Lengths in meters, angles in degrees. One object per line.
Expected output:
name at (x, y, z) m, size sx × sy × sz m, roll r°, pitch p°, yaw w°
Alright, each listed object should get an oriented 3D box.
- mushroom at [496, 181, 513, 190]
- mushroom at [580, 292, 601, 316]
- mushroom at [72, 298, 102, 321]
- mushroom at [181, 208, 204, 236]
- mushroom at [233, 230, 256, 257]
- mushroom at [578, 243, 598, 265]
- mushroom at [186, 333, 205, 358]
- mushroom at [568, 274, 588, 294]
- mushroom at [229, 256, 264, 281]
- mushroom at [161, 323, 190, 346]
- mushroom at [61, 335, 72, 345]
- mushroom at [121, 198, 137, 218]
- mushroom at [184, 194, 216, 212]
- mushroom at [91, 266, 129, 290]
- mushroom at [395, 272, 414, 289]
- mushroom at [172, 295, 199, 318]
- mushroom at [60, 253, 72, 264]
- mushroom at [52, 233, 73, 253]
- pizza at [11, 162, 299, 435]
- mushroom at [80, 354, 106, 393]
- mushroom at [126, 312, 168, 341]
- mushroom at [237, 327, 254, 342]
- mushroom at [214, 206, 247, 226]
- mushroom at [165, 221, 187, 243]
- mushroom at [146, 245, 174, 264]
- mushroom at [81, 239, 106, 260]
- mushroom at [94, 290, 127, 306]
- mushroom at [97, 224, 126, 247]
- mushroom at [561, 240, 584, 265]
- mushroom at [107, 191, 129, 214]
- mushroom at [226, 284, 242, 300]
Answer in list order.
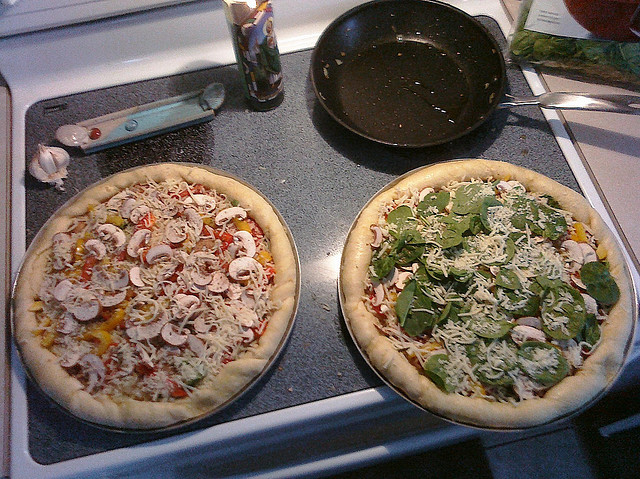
mushroom at (0.895, -0.259, 2.716) m, size 0.047 × 0.013 × 0.044 m, roll 7°, pitch 53°, yaw 1°
mushroom at (1.228, 0.292, 2.537) m, size 0.071 × 0.051 × 0.113 m, roll -13°, pitch 72°, yaw -1°
mushroom at (-1.051, 0.319, 2.539) m, size 0.124 × 0.036 × 0.082 m, roll -31°, pitch 74°, yaw -8°
mushroom at (-0.611, -0.081, 2.676) m, size 0.085 × 0.034 × 0.134 m, roll -27°, pitch 85°, yaw 14°
mushroom at (-0.361, 0.022, 2.645) m, size 0.095 × 0.030 × 0.128 m, roll -10°, pitch 72°, yaw -1°
mushroom at (1.251, 0.070, 2.621) m, size 0.083 × 0.064 × 0.081 m, roll -3°, pitch 99°, yaw -20°
mushroom at (-0.552, 0.471, 2.494) m, size 0.086 × 0.029 × 0.093 m, roll -29°, pitch 88°, yaw 10°
mushroom at (1.176, 0.205, 2.561) m, size 0.067 × 0.018 × 0.090 m, roll -38°, pitch 82°, yaw -14°
mushroom at (-0.356, 0.132, 2.590) m, size 0.133 × 0.037 × 0.112 m, roll -41°, pitch 75°, yaw -11°
mushroom at (-0.651, 0.422, 2.492) m, size 0.119 × 0.029 × 0.083 m, roll 19°, pitch 74°, yaw 8°
mushroom at (-1.148, 0.451, 2.520) m, size 0.038 × 0.010 × 0.035 m, roll 4°, pitch 68°, yaw 9°
mushroom at (-0.923, -0.146, 2.713) m, size 0.064 × 0.021 × 0.090 m, roll 17°, pitch 81°, yaw 9°
mushroom at (-0.579, -0.186, 2.720) m, size 0.141 × 0.030 × 0.075 m, roll 21°, pitch 74°, yaw 9°
mushroom at (-0.977, 0.181, 2.578) m, size 0.187 × 0.030 × 0.099 m, roll 7°, pitch 72°, yaw 4°
mushroom at (0.384, 0.188, 2.557) m, size 0.075 × 0.020 × 0.075 m, roll -44°, pitch 59°, yaw 2°
mushroom at (-0.611, 0.299, 2.530) m, size 0.083 × 0.034 × 0.118 m, roll 34°, pitch 76°, yaw 12°
mushroom at (-1.190, 0.086, 2.628) m, size 0.045 × 0.024 × 0.041 m, roll 11°, pitch 73°, yaw 6°
mushroom at (-1.219, 0.018, 2.649) m, size 0.082 × 0.031 × 0.103 m, roll -16°, pitch 72°, yaw -3°
pizza at (-0.770, 0.232, 2.590) m, size 1.294 × 0.114 × 1.258 m, roll 13°, pitch 73°, yaw 6°
mushroom at (-0.998, 0.584, 2.449) m, size 0.124 × 0.036 × 0.148 m, roll -9°, pitch 87°, yaw -2°
mushroom at (-0.763, 0.396, 2.501) m, size 0.194 × 0.027 × 0.084 m, roll -21°, pitch 72°, yaw -5°
mushroom at (-0.318, 0.423, 2.485) m, size 0.068 × 0.019 × 0.059 m, roll -7°, pitch 83°, yaw -20°
mushroom at (-0.434, -0.113, 2.702) m, size 0.156 × 0.052 × 0.065 m, roll -19°, pitch 73°, yaw -4°
mushroom at (-0.686, -0.033, 2.652) m, size 0.082 × 0.023 × 0.094 m, roll -3°, pitch 71°, yaw -10°
mushroom at (-0.755, 0.068, 2.615) m, size 0.124 × 0.038 × 0.072 m, roll -22°, pitch 73°, yaw -5°
mushroom at (-1.064, 0.050, 2.633) m, size 0.115 × 0.042 × 0.096 m, roll 10°, pitch 73°, yaw 5°
mushroom at (-0.950, 0.270, 2.555) m, size 0.137 × 0.019 × 0.061 m, roll -12°, pitch 72°, yaw -2°
mushroom at (-0.979, -0.022, 2.645) m, size 0.143 × 0.033 × 0.081 m, roll 27°, pitch 75°, yaw 10°
mushroom at (1.185, 0.062, 2.619) m, size 0.087 × 0.026 × 0.103 m, roll -1°, pitch 73°, yaw 4°
mushroom at (-0.996, -0.177, 2.718) m, size 0.081 × 0.030 × 0.097 m, roll 21°, pitch 79°, yaw -17°
mushroom at (-0.391, 0.238, 2.563) m, size 0.062 × 0.016 × 0.061 m, roll 43°, pitch 65°, yaw 9°
